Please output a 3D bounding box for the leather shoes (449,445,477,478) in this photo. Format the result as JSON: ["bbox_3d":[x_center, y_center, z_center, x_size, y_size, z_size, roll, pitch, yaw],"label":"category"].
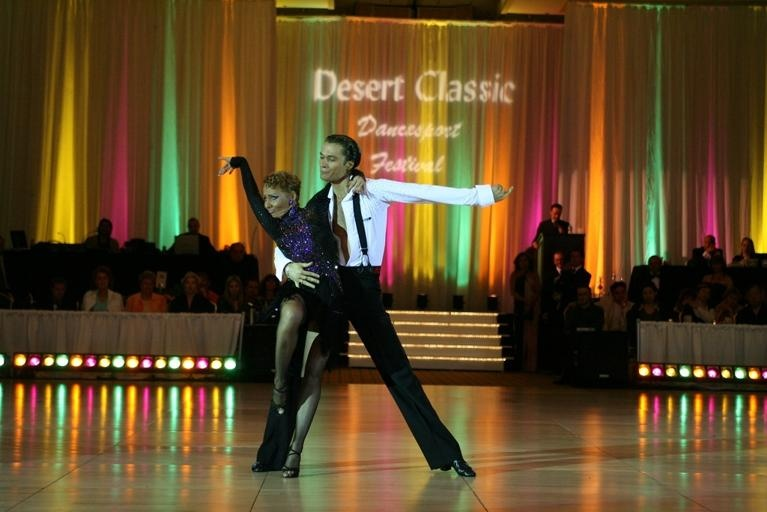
[{"bbox_3d":[0.727,1.863,8.366,0.125,0.142,0.351,4,-1,-21],"label":"leather shoes"}]

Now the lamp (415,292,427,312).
[{"bbox_3d":[0.741,0.856,17.312,0.240,0.444,0.242,0,3,1],"label":"lamp"}]

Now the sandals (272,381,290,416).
[{"bbox_3d":[-0.888,1.257,8.296,0.138,0.293,0.115,0,6,-7],"label":"sandals"}]

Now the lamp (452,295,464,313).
[{"bbox_3d":[1.411,0.873,17.348,0.243,0.359,0.249,-1,5,6],"label":"lamp"}]

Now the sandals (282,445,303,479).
[{"bbox_3d":[-0.799,1.814,8.343,0.154,0.242,0.222,1,6,-6],"label":"sandals"}]
